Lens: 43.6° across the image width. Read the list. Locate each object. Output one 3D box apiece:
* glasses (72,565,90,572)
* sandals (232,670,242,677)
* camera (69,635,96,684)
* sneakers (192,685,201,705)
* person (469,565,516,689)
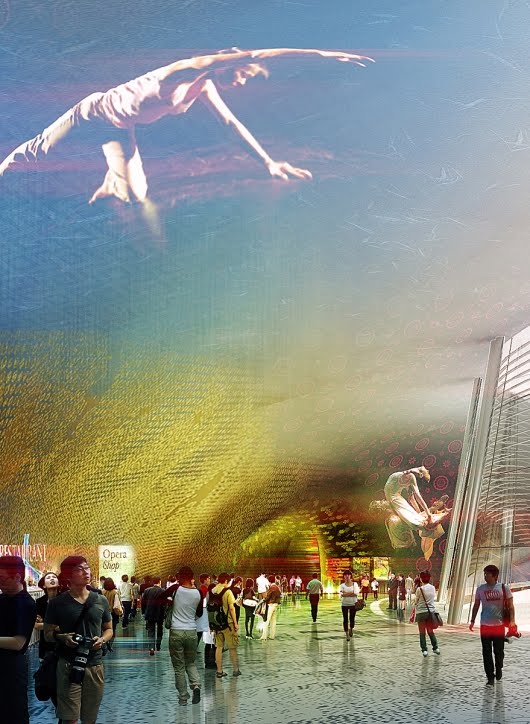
[{"bbox_3d":[-1.050,1.185,3.804,0.066,0.019,0.066,15,-29,-36],"label":"glasses"},{"bbox_3d":[-0.399,4.532,9.675,0.069,0.074,0.193,0,-1,16],"label":"sandals"},{"bbox_3d":[-1.074,1.734,3.896,0.130,0.295,0.149,2,-7,-28],"label":"camera"},{"bbox_3d":[-0.753,3.694,7.319,0.104,0.257,0.110,4,26,-9],"label":"sneakers"},{"bbox_3d":[3.081,3.526,8.982,0.579,1.751,1.335,-3,-6,16],"label":"person"}]
